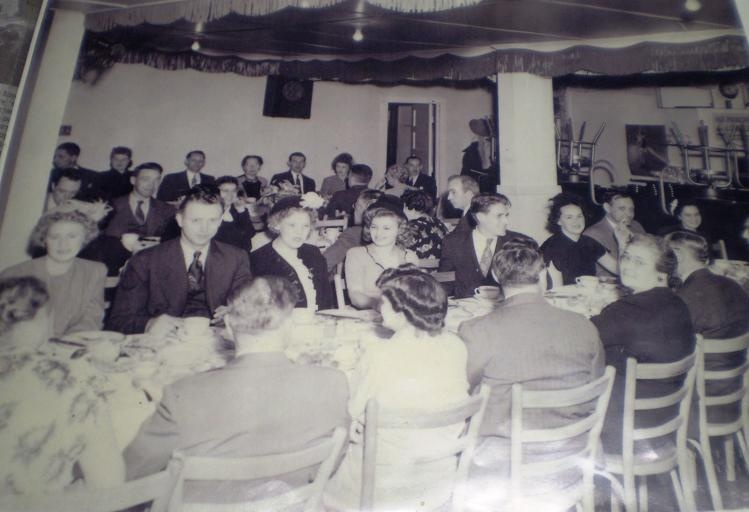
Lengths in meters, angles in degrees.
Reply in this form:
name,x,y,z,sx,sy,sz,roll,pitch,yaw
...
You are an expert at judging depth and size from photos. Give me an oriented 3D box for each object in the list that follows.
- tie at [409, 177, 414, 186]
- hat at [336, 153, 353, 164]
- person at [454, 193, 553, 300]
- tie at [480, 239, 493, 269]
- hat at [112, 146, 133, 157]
name,x,y,z,sx,sy,sz,roll,pitch,yaw
tie,0.227,-0.456,3.867,0.056,0.051,0.013,2,-8,-6
hat,-0.185,-0.622,3.980,0.088,0.027,0.077,22,18,28
person,0.743,-0.035,3.648,0.494,0.861,0.263,12,-2,-14
tie,0.682,-0.009,3.811,0.045,0.221,0.024,13,-19,4
hat,-1.478,-0.614,3.670,0.110,0.061,0.032,0,0,-20
